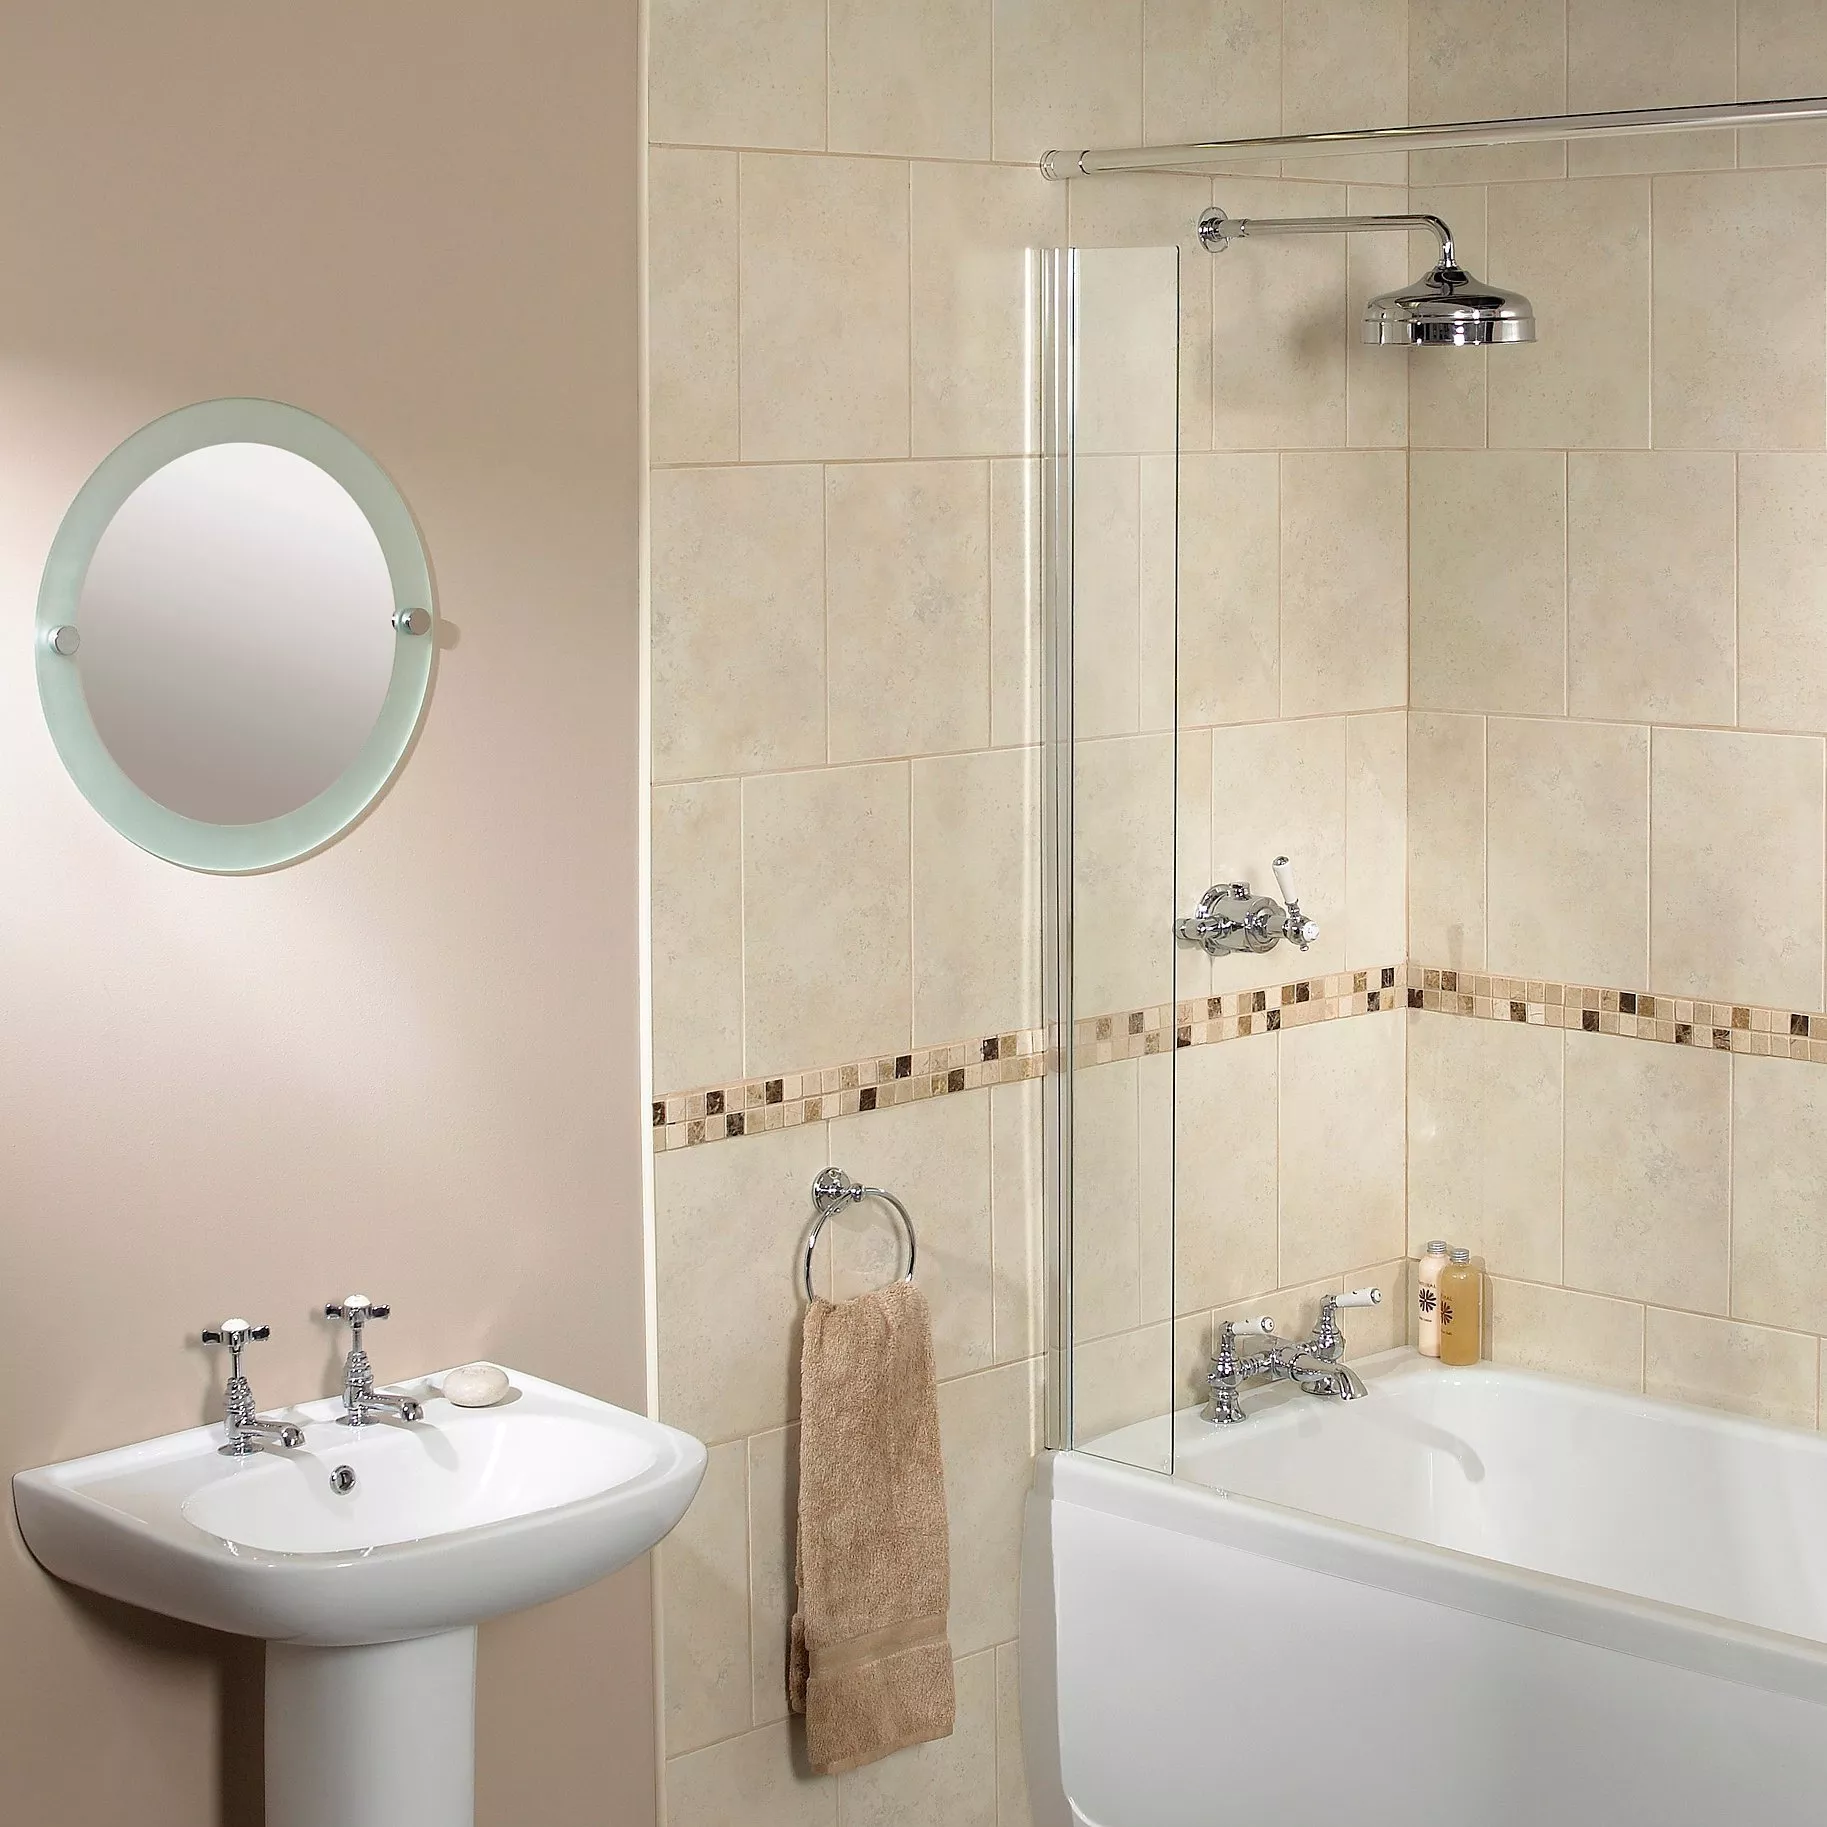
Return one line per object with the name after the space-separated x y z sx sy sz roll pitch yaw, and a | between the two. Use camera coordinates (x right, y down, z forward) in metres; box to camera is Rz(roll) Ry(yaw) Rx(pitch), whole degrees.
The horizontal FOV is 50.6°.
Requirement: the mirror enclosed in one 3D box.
-0.654 -0.266 1.813 0.084 0.525 0.427 4 6 43 | mirror

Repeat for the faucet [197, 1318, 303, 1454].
-0.623 0.451 1.815 0.123 0.130 0.077 -3 -2 31 | faucet

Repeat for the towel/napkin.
-0.040 0.760 2.451 0.243 0.576 0.186 1 8 -17 | towel/napkin

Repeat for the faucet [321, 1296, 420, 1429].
-0.523 0.444 1.892 0.108 0.121 0.065 4 -5 6 | faucet

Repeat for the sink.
-0.485 0.544 1.762 0.527 0.154 0.418 -4 12 -44 | sink
